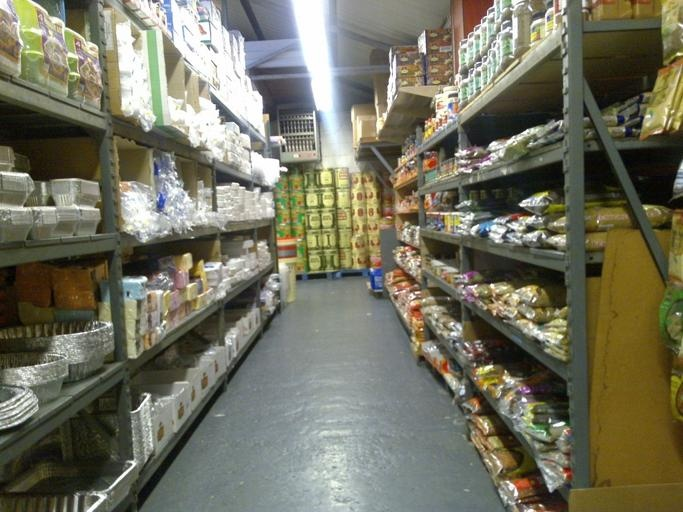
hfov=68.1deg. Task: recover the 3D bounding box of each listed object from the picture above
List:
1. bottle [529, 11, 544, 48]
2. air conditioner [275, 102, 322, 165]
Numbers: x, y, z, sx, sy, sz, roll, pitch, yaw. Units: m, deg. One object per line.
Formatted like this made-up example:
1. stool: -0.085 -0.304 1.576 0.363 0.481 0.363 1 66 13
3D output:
1. bottle: 0.779 -0.894 2.003 0.050 0.138 0.114 0 9 21
2. air conditioner: -0.789 -2.212 9.308 0.800 1.088 0.671 -4 -4 -8
